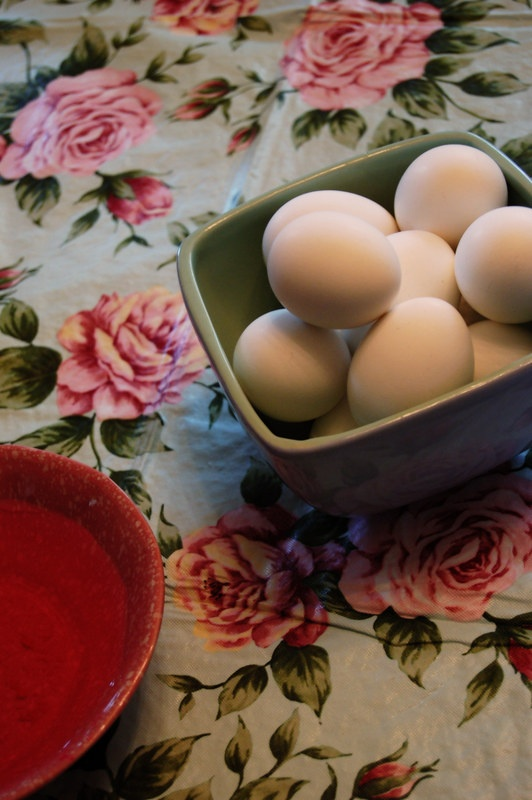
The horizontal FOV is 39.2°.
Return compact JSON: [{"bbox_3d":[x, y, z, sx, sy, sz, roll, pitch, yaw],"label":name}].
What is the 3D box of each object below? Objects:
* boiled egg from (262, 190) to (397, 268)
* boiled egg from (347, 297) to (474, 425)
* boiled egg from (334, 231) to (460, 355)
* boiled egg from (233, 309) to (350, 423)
[{"bbox_3d":[0.033,-0.097,0.445,0.072,0.042,0.034,-7,76,-14],"label":"boiled egg"},{"bbox_3d":[0.073,-0.017,0.373,0.050,0.046,0.066,33,56,32],"label":"boiled egg"},{"bbox_3d":[0.078,-0.064,0.436,0.065,0.038,0.067,-6,65,32],"label":"boiled egg"},{"bbox_3d":[0.014,-0.017,0.387,0.042,0.041,0.051,46,22,16],"label":"boiled egg"}]
